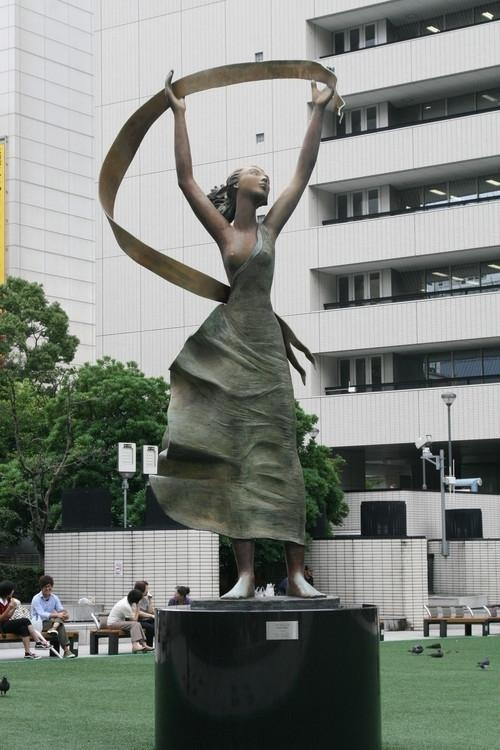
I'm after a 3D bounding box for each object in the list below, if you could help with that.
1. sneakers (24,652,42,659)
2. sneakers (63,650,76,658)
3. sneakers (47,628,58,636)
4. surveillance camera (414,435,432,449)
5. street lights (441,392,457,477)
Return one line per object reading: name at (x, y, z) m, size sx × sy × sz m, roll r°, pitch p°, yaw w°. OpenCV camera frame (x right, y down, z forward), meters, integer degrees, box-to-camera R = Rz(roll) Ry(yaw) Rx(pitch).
sneakers at (-3.213, 4.186, 26.767) m, size 0.253 × 0.119 × 0.099 m, roll -6°, pitch -9°, yaw 21°
sneakers at (-2.694, 4.242, 27.309) m, size 0.146 × 0.100 × 0.249 m, roll -6°, pitch -10°, yaw 33°
sneakers at (-2.995, 3.936, 27.530) m, size 0.084 × 0.098 × 0.218 m, roll 20°, pitch -14°, yaw -17°
surveillance camera at (4.569, 1.658, 46.991) m, size 0.365 × 0.303 × 0.693 m, roll -19°, pitch -9°, yaw -7°
street lights at (5.405, 1.659, 48.096) m, size 0.513 × 2.451 × 0.529 m, roll -1°, pitch 5°, yaw -12°
